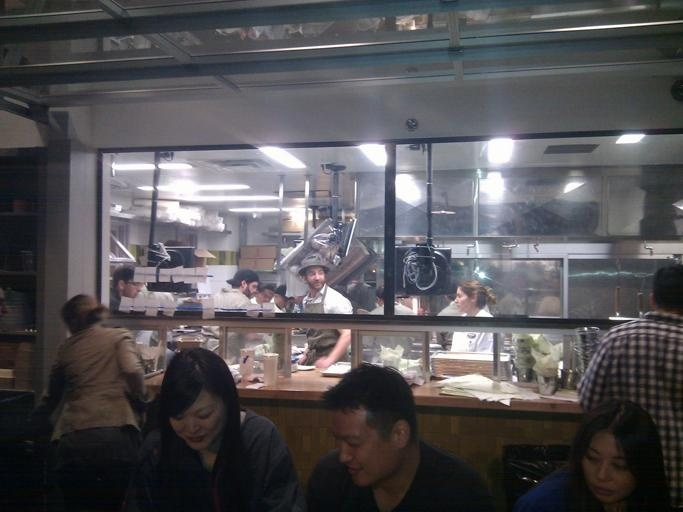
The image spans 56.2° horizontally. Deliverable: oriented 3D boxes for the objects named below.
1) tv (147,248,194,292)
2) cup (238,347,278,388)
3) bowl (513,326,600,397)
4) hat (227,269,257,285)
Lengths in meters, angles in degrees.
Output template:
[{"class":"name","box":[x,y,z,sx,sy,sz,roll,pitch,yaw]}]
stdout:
[{"class":"tv","box":[-1.064,0.088,3.987,0.295,0.257,0.146,1,2,3]},{"class":"cup","box":[-0.505,0.661,3.792,0.229,0.153,0.174,0,-4,10]},{"class":"bowl","box":[1.211,0.604,3.632,0.446,0.298,0.362,-2,-7,14]},{"class":"hat","box":[-0.819,0.177,5.301,0.203,0.107,0.127,3,-7,-7]}]
